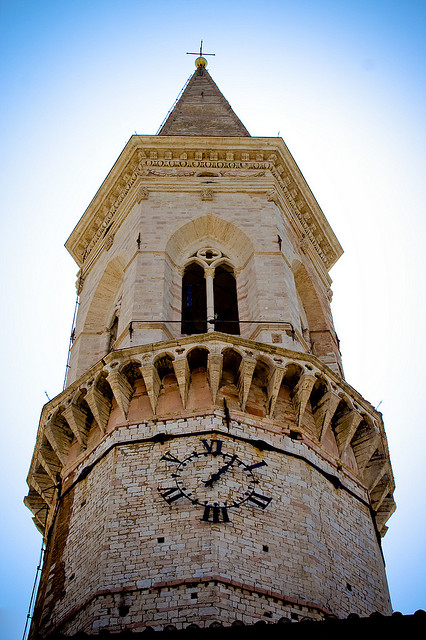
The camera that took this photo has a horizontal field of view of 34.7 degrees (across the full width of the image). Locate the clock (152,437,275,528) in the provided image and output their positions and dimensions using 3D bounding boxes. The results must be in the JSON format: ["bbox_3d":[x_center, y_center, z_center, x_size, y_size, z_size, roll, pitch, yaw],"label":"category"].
[{"bbox_3d":[0.002,2.597,10.794,1.886,0.127,2.152,0,-53,6],"label":"clock"}]
